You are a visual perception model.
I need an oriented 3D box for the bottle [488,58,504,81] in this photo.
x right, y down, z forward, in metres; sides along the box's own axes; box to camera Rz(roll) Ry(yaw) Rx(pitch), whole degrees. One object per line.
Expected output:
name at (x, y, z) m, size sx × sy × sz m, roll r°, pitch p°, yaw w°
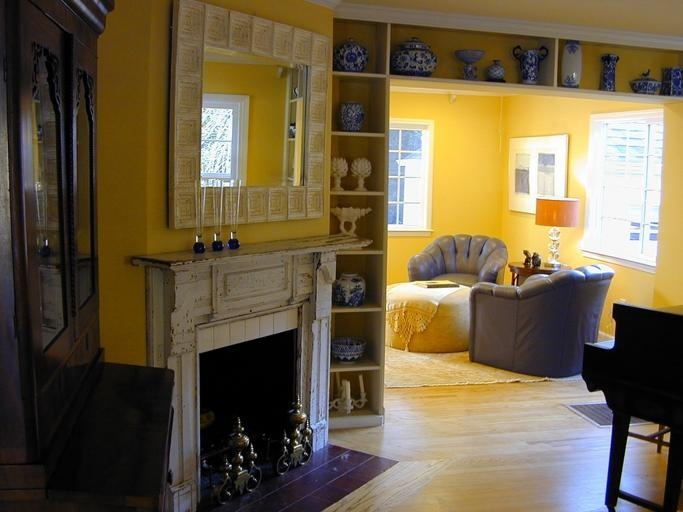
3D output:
bottle at (1.210, -1.461, 4.315) m, size 0.147 × 0.191 × 0.204 m, roll 3°, pitch 10°, yaw 14°

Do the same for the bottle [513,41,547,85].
bottle at (1.509, -1.531, 4.394) m, size 0.258 × 0.329 × 0.169 m, roll -3°, pitch 10°, yaw -24°

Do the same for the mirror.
mirror at (-0.568, -0.842, 3.210) m, size 0.061 × 1.431 × 1.436 m, roll 3°, pitch 5°, yaw 38°

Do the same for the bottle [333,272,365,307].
bottle at (0.063, 0.242, 4.226) m, size 0.230 × 0.230 × 0.235 m, roll 1°, pitch 6°, yaw 8°

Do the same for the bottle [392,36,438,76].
bottle at (0.536, -1.437, 4.041) m, size 0.293 × 0.262 × 0.300 m, roll 2°, pitch 13°, yaw 8°

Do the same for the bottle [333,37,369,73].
bottle at (0.060, -1.411, 3.919) m, size 0.232 × 0.229 × 0.233 m, roll -4°, pitch 14°, yaw -19°

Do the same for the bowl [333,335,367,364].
bowl at (0.053, 0.713, 4.245) m, size 0.258 × 0.155 × 0.240 m, roll 1°, pitch 9°, yaw 0°

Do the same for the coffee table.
coffee table at (0.901, 0.616, 5.855) m, size 0.724 × 0.460 × 0.721 m, roll 3°, pitch 0°, yaw -40°
